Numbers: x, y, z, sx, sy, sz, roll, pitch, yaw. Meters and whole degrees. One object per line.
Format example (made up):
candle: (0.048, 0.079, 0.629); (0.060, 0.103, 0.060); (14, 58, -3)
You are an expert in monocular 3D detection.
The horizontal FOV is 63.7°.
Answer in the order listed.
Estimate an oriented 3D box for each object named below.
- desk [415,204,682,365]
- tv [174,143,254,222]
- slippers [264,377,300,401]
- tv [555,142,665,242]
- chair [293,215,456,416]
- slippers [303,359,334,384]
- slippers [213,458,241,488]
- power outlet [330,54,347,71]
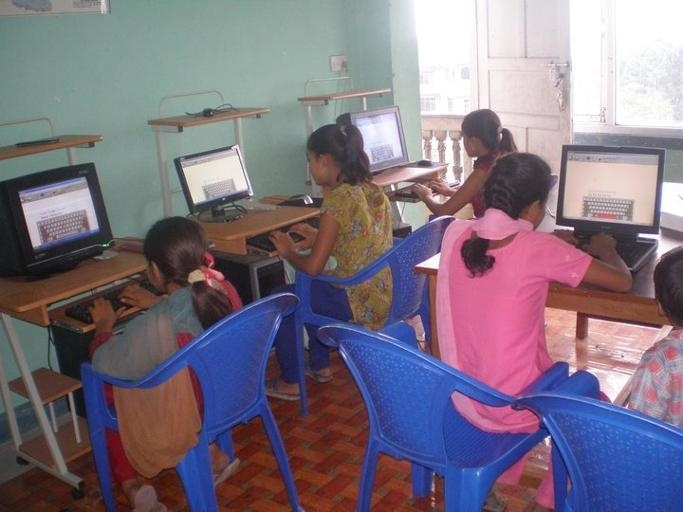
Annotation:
desk: (1.054, 0.169, 2.366); (0.759, 0.509, 0.749); (9, 20, 32)
tv: (-0.817, -0.451, 3.450); (0.214, 0.397, 0.520); (-4, 17, 39)
slippers: (-0.332, 0.749, 3.078); (0.192, 0.081, 0.098); (15, 18, 32)
tv: (1.280, -0.293, 2.602); (0.425, 0.393, 0.144); (7, 7, 27)
chair: (0.125, 0.154, 2.765); (0.610, 0.895, 0.598); (11, 23, 30)
slippers: (-0.129, 0.687, 3.269); (0.091, 0.071, 0.164); (-16, 23, -42)
slippers: (-0.526, 0.988, 2.534); (0.115, 0.049, 0.087); (-51, 15, -18)
power outlet: (-0.017, -1.614, 4.603); (0.039, 0.139, 0.221); (9, 22, 40)
